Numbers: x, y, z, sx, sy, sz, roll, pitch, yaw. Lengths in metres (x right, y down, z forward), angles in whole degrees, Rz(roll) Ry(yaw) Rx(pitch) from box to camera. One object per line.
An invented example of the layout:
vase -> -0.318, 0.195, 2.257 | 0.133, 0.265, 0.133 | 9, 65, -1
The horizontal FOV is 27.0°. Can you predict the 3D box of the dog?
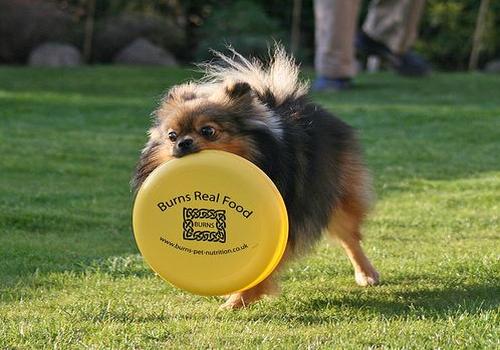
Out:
dog -> 0.144, 0.005, 9.784 | 1.438, 2.202, 2.591 | 4, 6, 35
